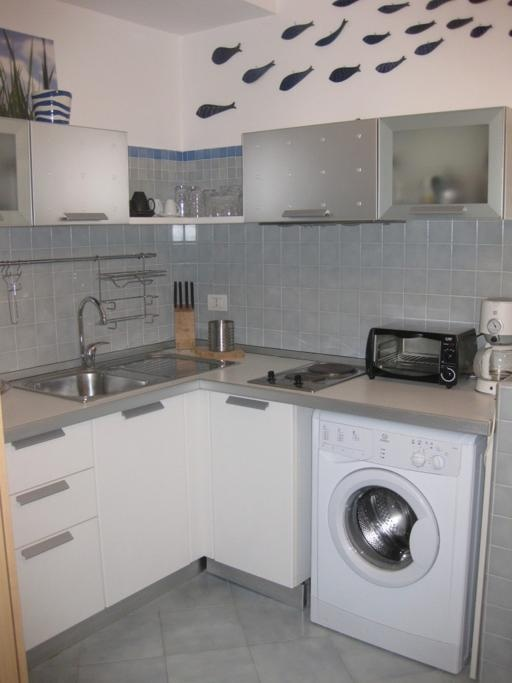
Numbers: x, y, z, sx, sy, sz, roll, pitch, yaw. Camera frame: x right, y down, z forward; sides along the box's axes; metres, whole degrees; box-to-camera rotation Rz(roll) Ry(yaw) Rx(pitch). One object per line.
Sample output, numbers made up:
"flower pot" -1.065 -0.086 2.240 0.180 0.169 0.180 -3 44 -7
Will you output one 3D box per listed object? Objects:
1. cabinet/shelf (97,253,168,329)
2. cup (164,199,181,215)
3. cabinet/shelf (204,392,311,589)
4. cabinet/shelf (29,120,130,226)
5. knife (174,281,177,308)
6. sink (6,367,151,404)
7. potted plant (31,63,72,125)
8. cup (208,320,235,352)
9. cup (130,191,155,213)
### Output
"cabinet/shelf" -0.666 -0.270 2.861 0.123 0.355 0.369 6 14 30
"cup" -0.428 -0.674 2.767 0.072 0.086 0.049 -5 6 -42
"cabinet/shelf" -0.001 0.608 2.302 0.489 0.766 0.144 3 6 36
"cabinet/shelf" -0.682 -0.639 2.074 0.217 0.357 0.428 8 16 28
"knife" -0.460 -0.266 3.099 0.021 0.156 0.104 -2 5 -10
"sink" -0.811 0.188 2.387 0.243 0.120 0.304 8 10 36
"potted plant" -0.762 -0.879 2.036 0.133 0.168 0.163 -2 5 -21
"cup" -0.180 -0.033 2.907 0.152 0.172 0.152 1 6 0
"cup" -0.548 -0.658 2.613 0.112 0.132 0.126 -2 5 -13
